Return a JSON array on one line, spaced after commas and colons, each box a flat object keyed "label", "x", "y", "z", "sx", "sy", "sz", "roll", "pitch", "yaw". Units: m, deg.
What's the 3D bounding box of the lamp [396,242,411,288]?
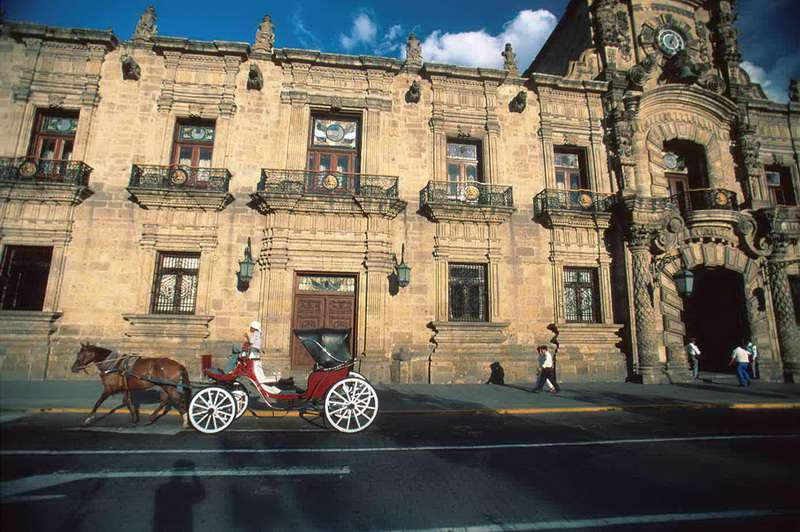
[{"label": "lamp", "x": 0.137, "y": -0.117, "z": 25.565, "sx": 0.635, "sy": 2.008, "sz": 0.917, "roll": 1, "pitch": -11, "yaw": 1}]

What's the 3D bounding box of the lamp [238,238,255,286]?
[{"label": "lamp", "x": -6.671, "y": -0.233, "z": 24.898, "sx": 0.717, "sy": 2.238, "sz": 0.724, "roll": 4, "pitch": -11, "yaw": -16}]

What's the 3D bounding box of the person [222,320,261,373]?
[{"label": "person", "x": -5.856, "y": 3.012, "z": 21.070, "sx": 1.294, "sy": 0.969, "sz": 2.162, "roll": 5, "pitch": 20, "yaw": -5}]

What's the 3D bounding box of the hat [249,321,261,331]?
[{"label": "hat", "x": -5.132, "y": 2.114, "z": 20.365, "sx": 0.387, "sy": 0.172, "sz": 0.446, "roll": 7, "pitch": -5, "yaw": -2}]
